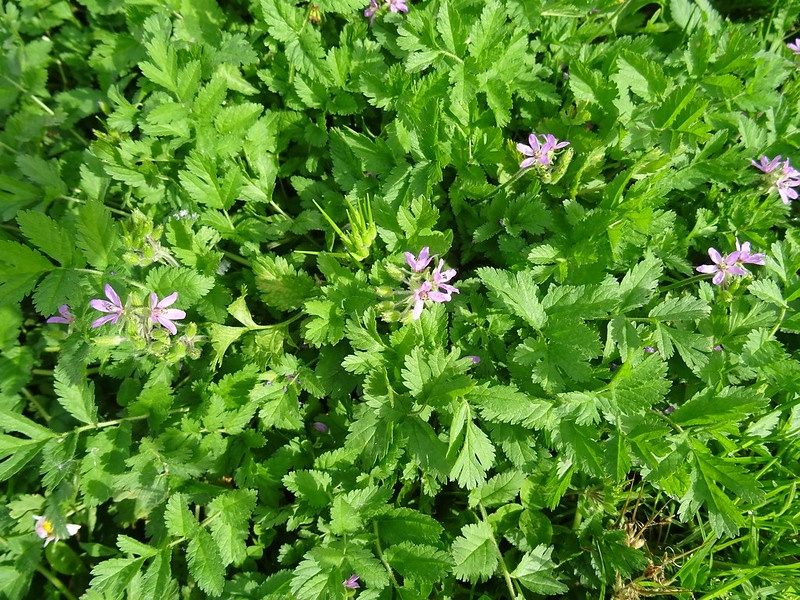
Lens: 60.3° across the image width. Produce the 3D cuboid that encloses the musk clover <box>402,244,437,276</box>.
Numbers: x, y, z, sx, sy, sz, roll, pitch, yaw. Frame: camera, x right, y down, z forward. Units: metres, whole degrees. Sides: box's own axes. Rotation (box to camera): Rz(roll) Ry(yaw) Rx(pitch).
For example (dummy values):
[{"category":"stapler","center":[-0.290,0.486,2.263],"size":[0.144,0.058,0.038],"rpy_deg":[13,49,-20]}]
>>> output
[{"category":"musk clover","center":[0.113,-0.239,4.136],"size":[0.141,0.167,0.101],"rpy_deg":[12,119,11]}]

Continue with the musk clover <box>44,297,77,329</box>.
[{"category":"musk clover","center":[-2.147,0.102,4.398],"size":[0.165,0.082,0.183],"rpy_deg":[22,90,6]}]

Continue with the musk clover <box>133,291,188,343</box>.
[{"category":"musk clover","center":[-1.445,0.094,4.111],"size":[0.256,0.111,0.279],"rpy_deg":[-4,89,-32]}]

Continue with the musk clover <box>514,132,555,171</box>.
[{"category":"musk clover","center":[0.889,-0.965,4.460],"size":[0.271,0.129,0.212],"rpy_deg":[-5,85,0]}]

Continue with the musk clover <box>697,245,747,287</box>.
[{"category":"musk clover","center":[2.098,-0.223,4.523],"size":[0.318,0.144,0.233],"rpy_deg":[-1,85,0]}]

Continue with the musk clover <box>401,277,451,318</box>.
[{"category":"musk clover","center":[0.155,-0.012,4.218],"size":[0.264,0.304,0.167],"rpy_deg":[-28,85,-2]}]

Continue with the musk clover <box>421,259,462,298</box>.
[{"category":"musk clover","center":[0.241,-0.122,4.129],"size":[0.086,0.190,0.207],"rpy_deg":[-26,100,3]}]
